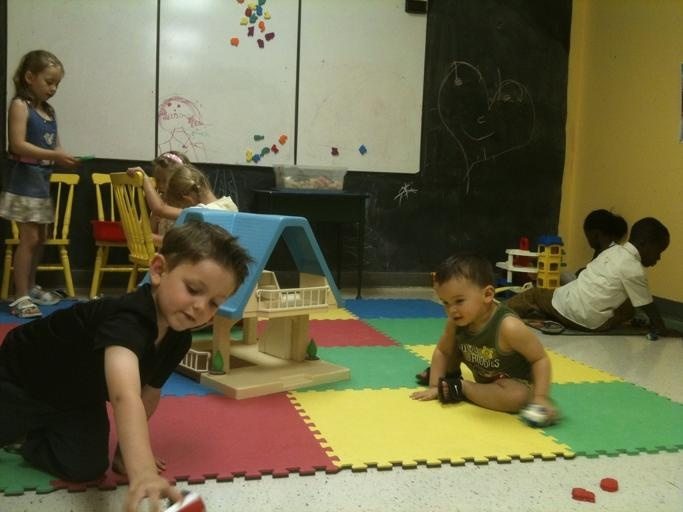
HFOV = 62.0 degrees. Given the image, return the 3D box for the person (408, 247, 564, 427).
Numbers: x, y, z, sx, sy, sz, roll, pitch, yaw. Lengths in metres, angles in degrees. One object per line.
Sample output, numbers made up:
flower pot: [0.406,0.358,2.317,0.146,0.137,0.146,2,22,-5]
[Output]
person: [0.551,0.295,2.306,0.513,0.747,0.737,-3,4,-19]

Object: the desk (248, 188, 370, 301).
desk: [-0.210,-0.101,4.257,0.854,0.793,0.668,1,9,-7]

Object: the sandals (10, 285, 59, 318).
sandals: [-1.871,0.285,3.469,0.226,0.077,0.164,-7,13,-37]

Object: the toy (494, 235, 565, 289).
toy: [1.340,0.056,3.980,0.372,0.297,0.389,1,2,18]

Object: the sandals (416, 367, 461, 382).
sandals: [0.409,0.495,2.391,0.196,0.093,0.071,0,2,-3]

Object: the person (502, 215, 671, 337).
person: [1.485,0.177,3.449,1.158,0.628,0.542,-12,19,-9]
